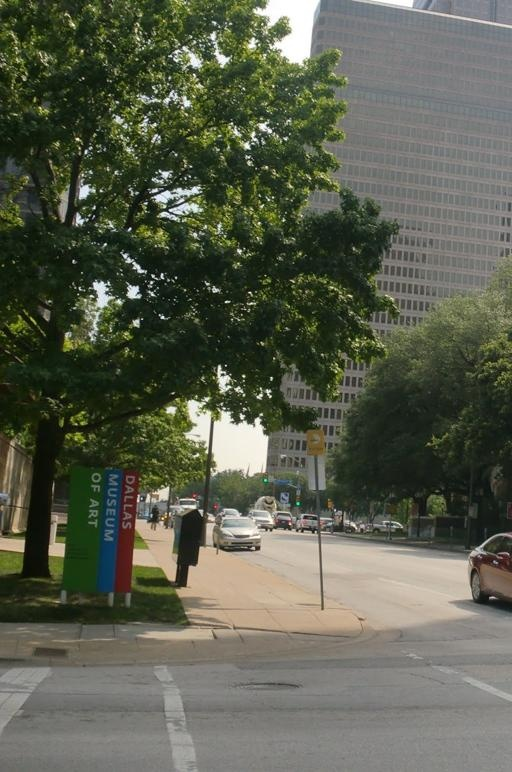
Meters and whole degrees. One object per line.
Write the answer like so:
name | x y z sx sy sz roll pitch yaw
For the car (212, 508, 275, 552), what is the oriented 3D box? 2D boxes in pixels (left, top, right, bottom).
car | -0.925 7.022 35.322 1.998 1.526 2.683 4 -10 -7

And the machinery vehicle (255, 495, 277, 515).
machinery vehicle | 1.267 15.090 94.613 1.540 1.562 4.825 2 -16 2
